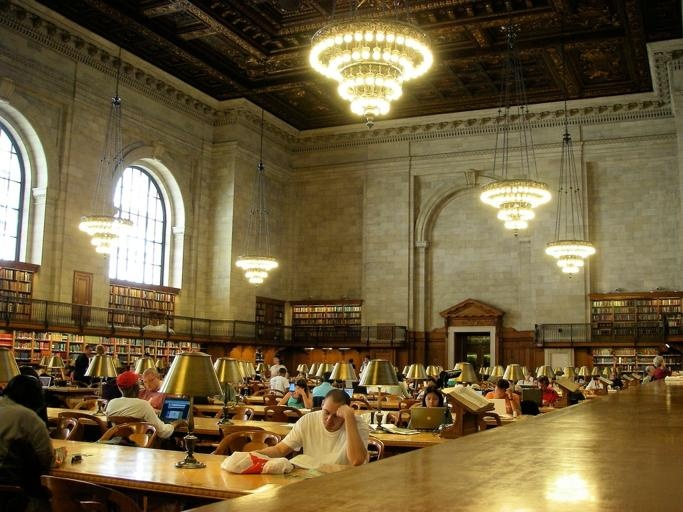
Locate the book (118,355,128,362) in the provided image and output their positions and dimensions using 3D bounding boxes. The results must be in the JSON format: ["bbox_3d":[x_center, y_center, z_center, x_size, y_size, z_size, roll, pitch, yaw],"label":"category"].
[{"bbox_3d":[-6.325,2.947,17.915,0.292,0.244,0.147,-1,-2,4],"label":"book"}]

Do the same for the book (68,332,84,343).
[{"bbox_3d":[-7.066,2.209,16.534,0.273,0.304,0.339,-5,-2,-12],"label":"book"}]

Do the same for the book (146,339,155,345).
[{"bbox_3d":[-5.859,2.624,18.929,0.347,0.158,0.300,3,-10,-25],"label":"book"}]

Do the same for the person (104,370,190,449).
[{"bbox_3d":[-1.931,1.408,5.884,0.826,0.616,0.483,-2,-6,34],"label":"person"}]

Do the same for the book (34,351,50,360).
[{"bbox_3d":[-7.316,2.431,15.096,0.215,0.250,0.294,-16,-15,39],"label":"book"}]

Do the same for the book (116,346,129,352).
[{"bbox_3d":[-6.368,2.714,18.039,0.404,0.190,0.355,8,-8,-27],"label":"book"}]

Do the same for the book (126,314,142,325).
[{"bbox_3d":[-6.218,1.878,18.535,0.039,0.251,0.393,-3,-7,28],"label":"book"}]

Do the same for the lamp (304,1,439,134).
[{"bbox_3d":[0.499,-3.402,10.536,2.008,2.123,1.519,0,-10,8],"label":"lamp"}]

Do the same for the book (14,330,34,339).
[{"bbox_3d":[-7.774,1.910,15.184,0.319,0.205,0.277,5,-4,-33],"label":"book"}]

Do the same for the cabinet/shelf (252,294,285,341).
[{"bbox_3d":[-2.714,2.252,22.571,0.612,1.424,1.717,-7,-13,25],"label":"cabinet/shelf"}]

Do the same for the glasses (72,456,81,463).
[{"bbox_3d":[-1.612,1.238,3.772,0.021,0.033,0.039,-2,-6,39],"label":"glasses"}]

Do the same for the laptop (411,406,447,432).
[{"bbox_3d":[0.818,1.556,5.927,0.381,0.221,0.257,0,0,12],"label":"laptop"}]

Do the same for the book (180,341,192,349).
[{"bbox_3d":[-5.060,2.867,20.074,0.082,0.213,0.255,-6,-9,33],"label":"book"}]
